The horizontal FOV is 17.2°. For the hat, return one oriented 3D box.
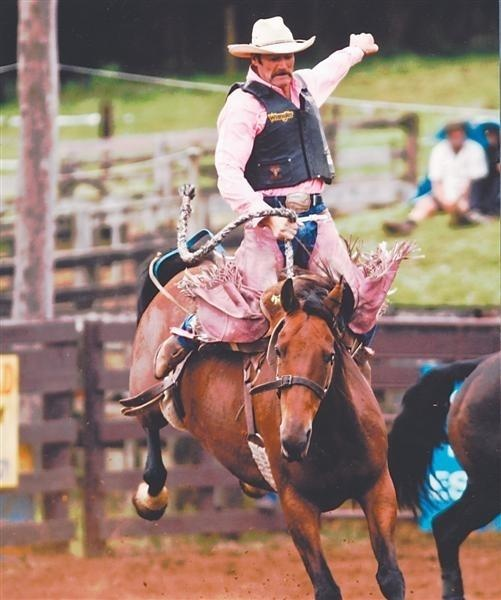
[{"bbox_3d":[0.082,-0.971,6.127,0.342,0.152,0.349,-5,6,32],"label":"hat"}]

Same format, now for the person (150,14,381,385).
[{"bbox_3d":[0.182,-0.340,6.191,0.902,1.445,0.740,-6,6,-28],"label":"person"}]
